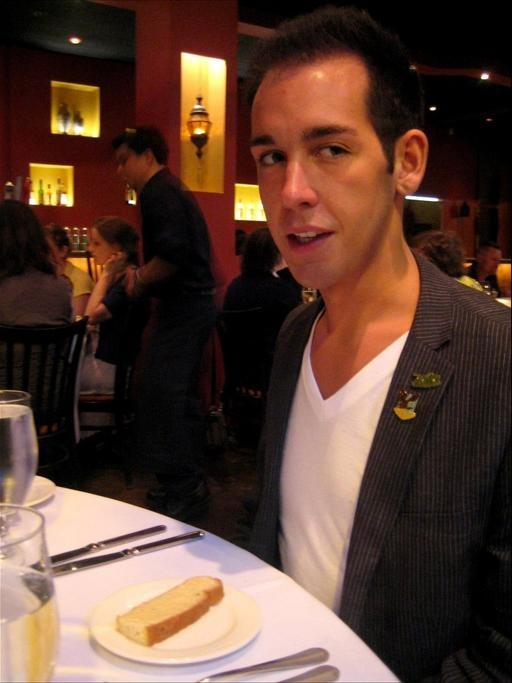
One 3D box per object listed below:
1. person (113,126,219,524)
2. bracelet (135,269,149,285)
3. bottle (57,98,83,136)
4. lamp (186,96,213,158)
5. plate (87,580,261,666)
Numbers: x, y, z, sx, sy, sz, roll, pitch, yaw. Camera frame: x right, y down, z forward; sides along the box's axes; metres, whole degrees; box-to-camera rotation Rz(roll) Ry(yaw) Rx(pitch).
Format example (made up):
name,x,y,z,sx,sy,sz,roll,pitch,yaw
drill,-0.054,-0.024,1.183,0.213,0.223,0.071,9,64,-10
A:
name,x,y,z,sx,sy,sz,roll,pitch,yaw
person,-0.418,-0.018,2.869,0.442,1.680,0.385,3,2,-7
bracelet,-0.566,-0.321,2.936,0.059,0.072,0.103,2,13,-16
bottle,-1.976,-2.386,6.327,0.289,0.397,0.191,2,2,-29
lamp,-0.469,-1.784,4.875,0.210,0.484,0.206,7,10,36
plate,-0.077,0.272,0.577,0.164,0.028,0.143,3,2,1
